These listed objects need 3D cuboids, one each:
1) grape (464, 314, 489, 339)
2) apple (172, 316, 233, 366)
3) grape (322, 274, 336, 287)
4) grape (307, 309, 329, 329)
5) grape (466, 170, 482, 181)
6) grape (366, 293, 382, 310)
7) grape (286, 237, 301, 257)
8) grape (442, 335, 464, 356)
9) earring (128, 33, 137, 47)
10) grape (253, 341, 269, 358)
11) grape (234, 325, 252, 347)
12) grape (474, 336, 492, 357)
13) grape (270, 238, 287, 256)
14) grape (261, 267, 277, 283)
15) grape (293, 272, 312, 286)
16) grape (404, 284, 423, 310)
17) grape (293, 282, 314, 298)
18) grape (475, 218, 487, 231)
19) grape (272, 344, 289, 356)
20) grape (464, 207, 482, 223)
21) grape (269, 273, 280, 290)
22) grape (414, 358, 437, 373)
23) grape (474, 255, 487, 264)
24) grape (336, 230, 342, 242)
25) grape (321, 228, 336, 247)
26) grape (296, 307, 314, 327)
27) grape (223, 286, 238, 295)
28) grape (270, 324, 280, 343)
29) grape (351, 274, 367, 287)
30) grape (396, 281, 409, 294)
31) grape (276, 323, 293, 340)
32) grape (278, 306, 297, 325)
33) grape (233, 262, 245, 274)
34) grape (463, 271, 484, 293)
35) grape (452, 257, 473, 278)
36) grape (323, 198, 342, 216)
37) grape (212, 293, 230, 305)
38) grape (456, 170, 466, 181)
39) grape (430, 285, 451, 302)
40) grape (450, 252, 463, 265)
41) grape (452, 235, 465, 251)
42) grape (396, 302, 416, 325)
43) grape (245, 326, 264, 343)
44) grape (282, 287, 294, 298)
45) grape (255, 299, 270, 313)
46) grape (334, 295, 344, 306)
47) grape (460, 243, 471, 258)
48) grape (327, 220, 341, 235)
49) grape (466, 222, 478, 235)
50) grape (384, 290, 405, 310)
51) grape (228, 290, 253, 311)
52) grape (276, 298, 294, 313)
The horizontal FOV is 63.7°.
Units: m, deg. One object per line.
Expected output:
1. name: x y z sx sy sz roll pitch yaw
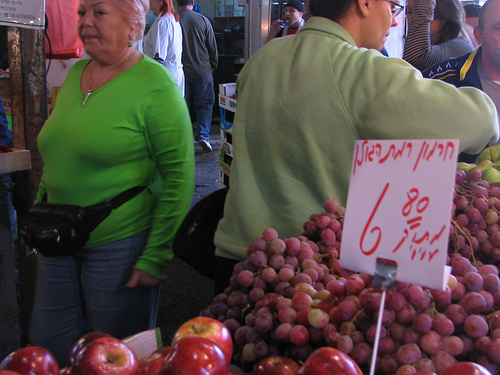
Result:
1. grape: 0.549 0.342 0.981 0.050 0.056 0.038 -5 21 -21
2. apple: -0.112 0.380 1.059 0.113 0.138 0.119 -23 10 7
3. grape: 0.233 0.269 1.195 0.031 0.039 0.033 21 12 21
4. grape: 0.173 0.336 1.025 0.050 0.042 0.039 -14 -38 37
5. grape: 0.752 -0.045 1.355 0.035 0.045 0.038 8 31 13
6. grape: 0.301 0.276 0.972 0.028 0.031 0.037 -2 -3 -41
7. grape: 0.129 0.178 1.225 0.046 0.062 0.046 0 9 -12
8. grape: 0.486 0.382 0.974 0.047 0.040 0.038 0 6 13
9. earring: -0.636 -0.802 2.166 0.022 0.078 0.025 21 2 -34
10. grape: 0.029 0.435 1.075 0.040 0.036 0.032 2 20 -3
11. grape: -0.024 0.411 1.125 0.046 0.063 0.049 4 1 0
12. grape: 0.558 0.380 0.967 0.036 0.048 0.038 1 4 0
13. grape: 0.084 0.179 1.211 0.042 0.056 0.047 -21 -8 9
14. grape: 0.054 0.258 1.179 0.038 0.041 0.046 -3 -25 -8
15. grape: 0.148 0.257 1.143 0.035 0.044 0.034 -3 -2 40
16. grape: 0.398 0.269 0.970 0.044 0.051 0.061 -12 -23 42
17. grape: 0.148 0.281 1.112 0.041 0.035 0.033 0 15 21
18. grape: 0.713 0.112 1.239 0.029 0.039 0.031 1 7 1
19. grape: 0.078 0.435 1.071 0.028 0.039 0.030 2 2 -3
20. grape: 0.685 0.085 1.234 0.044 0.034 0.026 44 -5 14
21. grape: 0.073 0.279 1.189 0.035 0.047 0.037 4 2 -4
22. grape: 0.414 0.422 0.953 0.026 0.022 0.037 -5 1 3
23. grape: 0.712 0.222 1.241 0.035 0.019 0.017 14 23 25
24. grape: 0.288 0.157 1.308 0.024 0.031 0.024 -10 22 -17
25. grape: 0.246 0.159 1.271 0.038 0.056 0.040 -4 -5 -18
26. grape: 0.140 0.336 1.047 0.039 0.053 0.041 2 1 5
27. grape: -0.065 0.326 1.269 0.029 0.018 0.024 -24 5 23
28. grape: 0.066 0.390 1.071 0.028 0.041 0.021 3 -3 -17
29. grape: 0.304 0.255 1.101 0.013 0.023 0.023 -36 29 20
30. grape: 0.370 0.246 0.986 0.027 0.032 0.016 -5 -16 23
31. grape: 0.087 0.373 1.046 0.035 0.048 0.038 6 4 2
32. grape: 0.099 0.338 1.058 0.037 0.048 0.037 3 -2 -39
33. grape: -0.037 0.251 1.274 0.035 0.021 0.029 -24 16 19
34. grape: 0.572 0.243 1.031 0.043 0.057 0.045 4 3 -14
35. grape: 0.575 0.215 1.091 0.037 0.044 0.053 0 10 8
36. grape: 0.276 0.062 1.353 0.054 0.049 0.055 -1 21 -12
37. grape: -0.088 0.357 1.291 0.036 0.032 0.047 -1 1 -30
38. grape: 0.697 -0.041 1.332 0.009 0.027 0.026 -27 37 14
39. grape: 0.477 0.268 1.003 0.042 0.016 0.042 -21 18 -37
40. grape: 0.574 0.200 1.130 0.024 0.034 0.033 -4 47 11
41. grape: 0.613 0.160 1.186 0.036 0.047 0.036 -1 6 -41
42. grape: 0.383 0.312 0.984 0.038 0.044 0.054 1 26 -1
43. grape: 0.009 0.403 1.091 0.043 0.036 0.034 -5 5 0
44. grape: 0.109 0.297 1.147 0.025 0.033 0.026 1 -1 32
45. grape: 0.034 0.333 1.140 0.033 0.043 0.032 10 -4 -43
46. grape: 0.239 0.304 1.085 0.020 0.014 0.026 -6 29 33
47. grape: 0.636 0.187 1.186 0.030 0.040 0.032 1 6 -8
48. grape: 0.273 0.124 1.295 0.035 0.046 0.036 -3 16 -12
49. grape: 0.680 0.124 1.236 0.025 0.035 0.019 -29 -11 13
50. grape: 0.352 0.273 0.989 0.037 0.043 0.052 -3 -2 -12
51. grape: -0.028 0.332 1.210 0.058 0.047 0.048 7 -31 34
52. grape: 0.092 0.316 1.099 0.030 0.039 0.032 -5 36 -15
